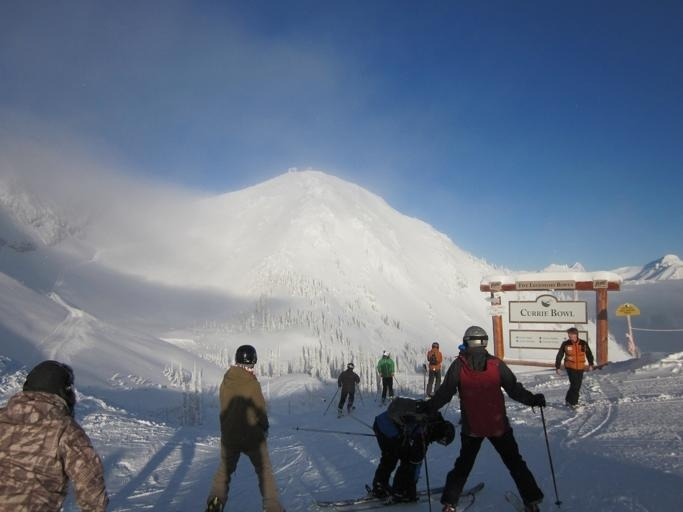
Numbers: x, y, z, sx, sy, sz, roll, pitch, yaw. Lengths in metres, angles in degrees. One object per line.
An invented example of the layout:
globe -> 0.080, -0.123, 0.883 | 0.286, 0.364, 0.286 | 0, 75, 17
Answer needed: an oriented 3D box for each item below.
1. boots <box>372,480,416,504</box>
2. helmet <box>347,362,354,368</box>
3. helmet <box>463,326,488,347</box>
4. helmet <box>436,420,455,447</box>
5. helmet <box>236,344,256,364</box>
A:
boots -> 1.248, 5.871, 14.885 | 1.197, 0.598, 0.443 | -5, -3, 8
helmet -> 0.359, 4.325, 23.587 | 0.246, 0.288, 0.191 | -14, 6, -23
helmet -> 3.198, 1.891, 14.261 | 0.429, 0.535, 0.580 | 1, 1, 18
helmet -> 2.546, 4.363, 14.677 | 0.514, 0.573, 0.419 | 24, -14, 12
helmet -> -2.378, 2.475, 15.122 | 0.389, 0.542, 0.532 | 2, -3, 5
